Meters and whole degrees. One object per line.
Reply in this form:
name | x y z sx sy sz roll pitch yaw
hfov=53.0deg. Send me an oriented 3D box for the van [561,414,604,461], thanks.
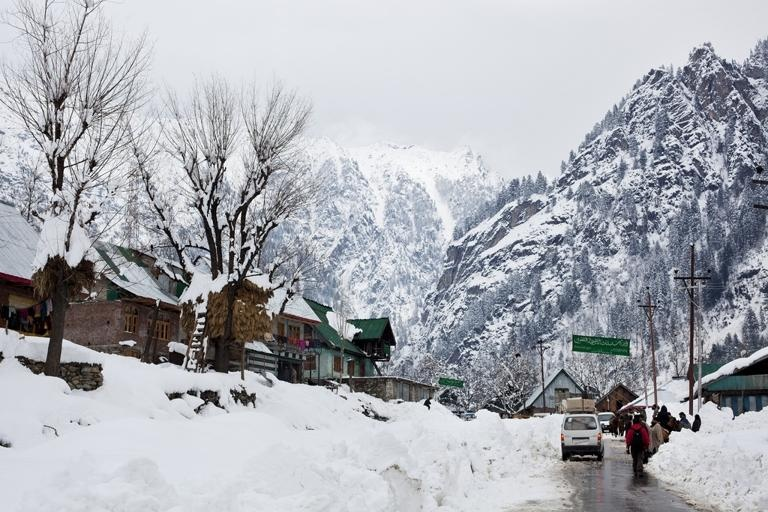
van | 10.550 9.912 40.914 2.151 2.529 4.897 -3 -17 17
